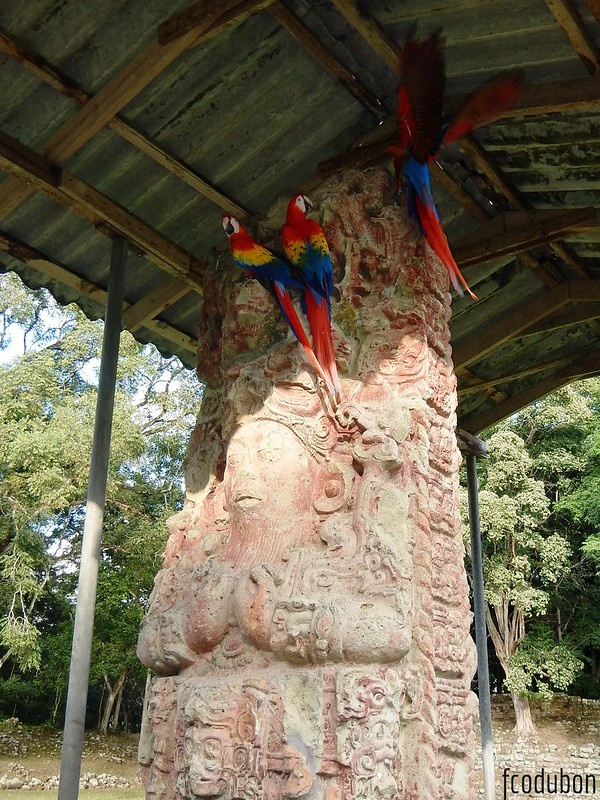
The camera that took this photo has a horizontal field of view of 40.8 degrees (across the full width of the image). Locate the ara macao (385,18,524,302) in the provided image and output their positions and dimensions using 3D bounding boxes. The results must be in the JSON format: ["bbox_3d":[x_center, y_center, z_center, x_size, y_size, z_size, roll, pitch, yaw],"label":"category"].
[{"bbox_3d":[0.921,-1.485,4.843,1.021,0.627,1.467,24,-31,28],"label":"ara macao"}]
